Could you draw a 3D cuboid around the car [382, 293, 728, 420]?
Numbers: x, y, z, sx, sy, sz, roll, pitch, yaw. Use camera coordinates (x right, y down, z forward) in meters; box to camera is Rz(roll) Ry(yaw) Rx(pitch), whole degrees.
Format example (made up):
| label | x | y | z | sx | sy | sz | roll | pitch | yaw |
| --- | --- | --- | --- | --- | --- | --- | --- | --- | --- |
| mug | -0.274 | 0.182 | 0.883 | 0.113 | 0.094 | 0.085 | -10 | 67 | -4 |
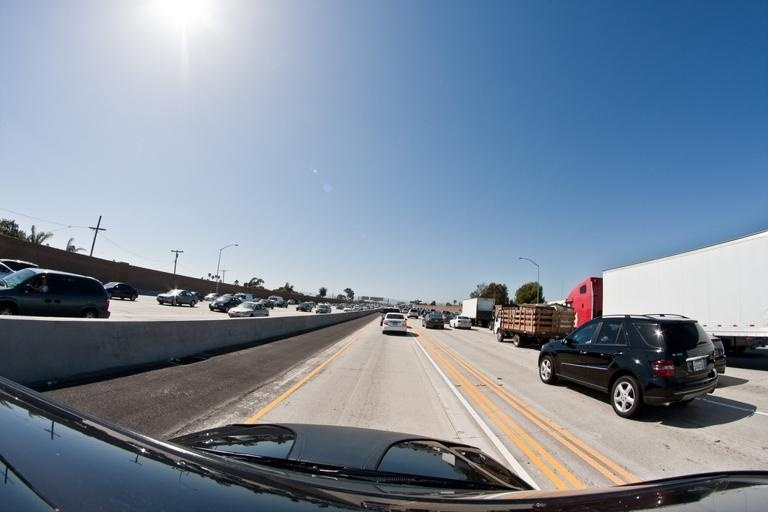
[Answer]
| label | x | y | z | sx | sy | sz | roll | pitch | yaw |
| --- | --- | --- | --- | --- | --- | --- | --- | --- | --- |
| car | 5.391 | 2.217 | 10.769 | 1.976 | 1.572 | 4.603 | 4 | -1 | -19 |
